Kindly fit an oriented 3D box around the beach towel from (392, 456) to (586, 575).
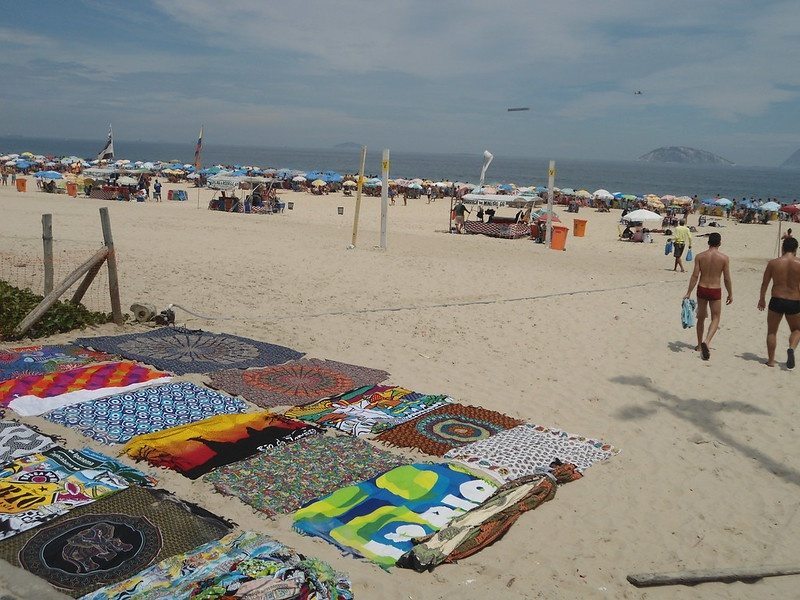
[{"bbox_3d":[1.048,2.021,5.807,2.163,0.188,0.518,-19,18,-19],"label":"beach towel"}]
